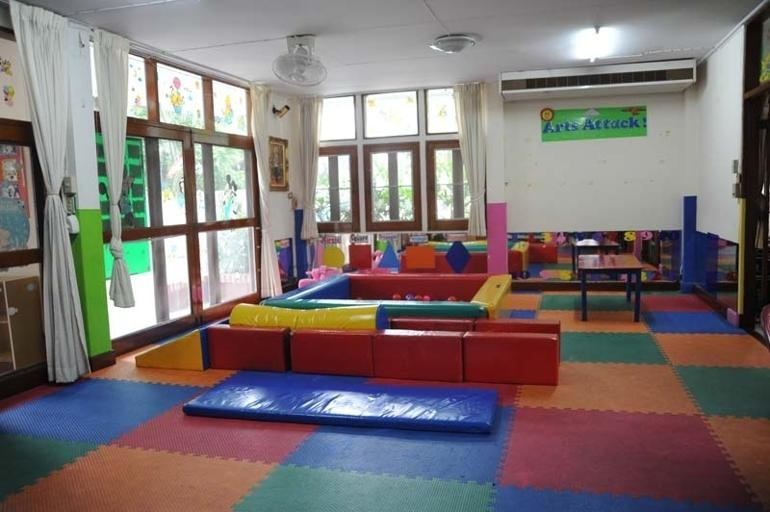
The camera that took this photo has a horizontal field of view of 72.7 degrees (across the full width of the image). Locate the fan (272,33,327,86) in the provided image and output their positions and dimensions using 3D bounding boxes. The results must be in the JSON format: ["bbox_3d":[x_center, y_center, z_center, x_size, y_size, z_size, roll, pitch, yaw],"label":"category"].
[{"bbox_3d":[-1.108,-2.529,6.763,0.690,0.635,0.700,4,5,30],"label":"fan"}]

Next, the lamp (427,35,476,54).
[{"bbox_3d":[0.968,-2.953,7.287,0.632,0.188,0.690,-14,18,-39],"label":"lamp"}]
